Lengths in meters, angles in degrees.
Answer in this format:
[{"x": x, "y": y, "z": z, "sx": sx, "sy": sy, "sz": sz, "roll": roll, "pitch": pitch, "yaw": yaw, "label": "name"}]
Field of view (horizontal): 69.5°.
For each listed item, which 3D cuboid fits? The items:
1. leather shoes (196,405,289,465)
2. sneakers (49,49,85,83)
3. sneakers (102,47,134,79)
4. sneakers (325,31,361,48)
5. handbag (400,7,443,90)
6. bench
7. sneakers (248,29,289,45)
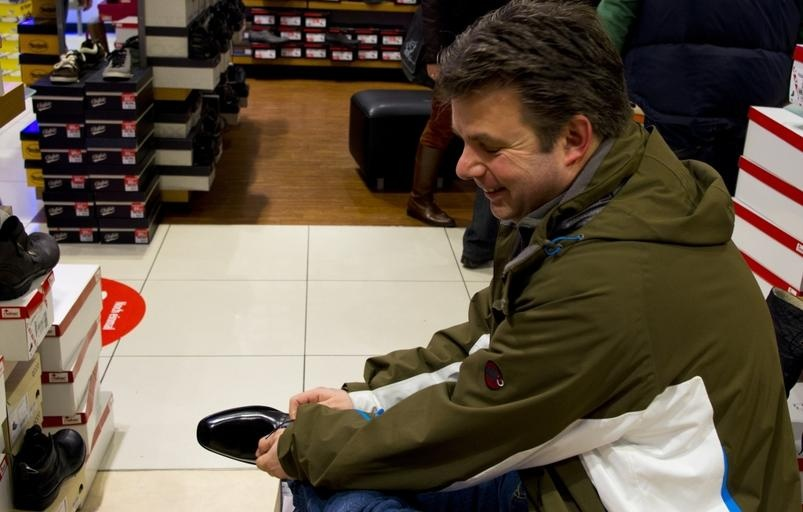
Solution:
[{"x": -0.474, "y": 0.527, "z": 1.724, "sx": 0.272, "sy": 0.149, "sz": 0.105, "roll": 2, "pitch": 12, "yaw": -1, "label": "leather shoes"}, {"x": -1.959, "y": -1.112, "z": 3.406, "sx": 0.121, "sy": 0.128, "sz": 0.327, "roll": 4, "pitch": 33, "yaw": -9, "label": "sneakers"}, {"x": -1.669, "y": -1.147, "z": 3.450, "sx": 0.134, "sy": 0.141, "sz": 0.332, "roll": -2, "pitch": 31, "yaw": -6, "label": "sneakers"}, {"x": -0.738, "y": -2.683, "z": 7.129, "sx": 0.473, "sy": 0.208, "sz": 0.171, "roll": 3, "pitch": 54, "yaw": -5, "label": "sneakers"}, {"x": 0.081, "y": -1.377, "z": 3.817, "sx": 0.169, "sy": 0.460, "sz": 0.347, "roll": 17, "pitch": 27, "yaw": 18, "label": "handbag"}, {"x": 0.060, "y": -1.016, "z": 4.553, "sx": 0.847, "sy": 0.674, "sz": 0.841, "roll": 1, "pitch": 25, "yaw": -4, "label": "bench"}, {"x": -1.653, "y": -2.676, "z": 7.039, "sx": 0.563, "sy": 0.205, "sz": 0.203, "roll": 0, "pitch": 37, "yaw": -3, "label": "sneakers"}]
